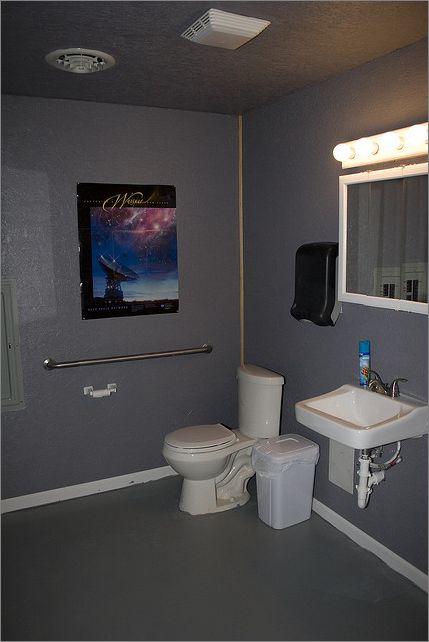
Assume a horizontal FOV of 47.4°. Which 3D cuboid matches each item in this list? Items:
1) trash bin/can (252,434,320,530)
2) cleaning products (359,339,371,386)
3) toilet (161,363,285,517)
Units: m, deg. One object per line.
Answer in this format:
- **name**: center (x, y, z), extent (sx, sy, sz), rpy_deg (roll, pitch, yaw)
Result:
- **trash bin/can**: center (0.366, 0.835, 2.799), extent (0.398, 0.515, 0.390), rpy_deg (-4, 7, -30)
- **cleaning products**: center (0.700, 0.201, 2.271), extent (0.047, 0.216, 0.088), rpy_deg (1, 5, 16)
- **toilet**: center (0.091, 0.712, 3.111), extent (0.873, 1.022, 0.533), rpy_deg (1, 1, -22)
